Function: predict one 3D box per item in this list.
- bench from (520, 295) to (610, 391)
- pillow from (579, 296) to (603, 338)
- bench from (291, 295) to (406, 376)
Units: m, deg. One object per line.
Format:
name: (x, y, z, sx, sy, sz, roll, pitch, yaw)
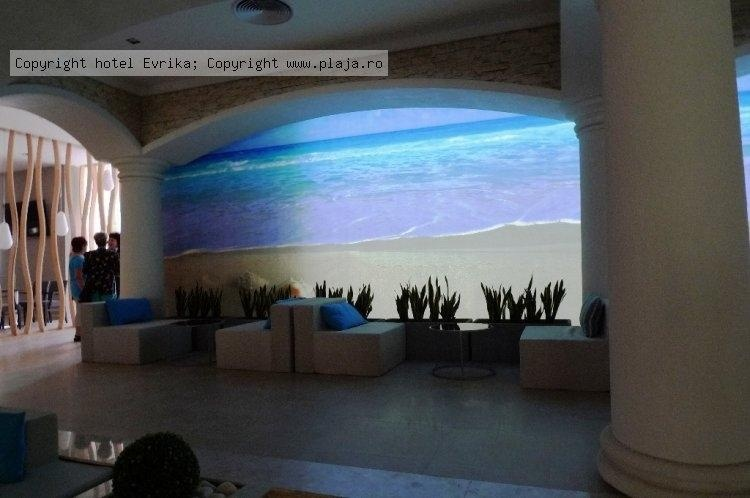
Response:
bench: (1.783, 0.869, 5.400, 0.836, 0.805, 0.863, 1, -2, 14)
pillow: (2.091, 0.667, 5.330, 0.127, 0.225, 0.356, 2, 0, 16)
bench: (-0.284, 0.897, 6.059, 0.831, 0.556, 0.894, -1, -2, 14)
